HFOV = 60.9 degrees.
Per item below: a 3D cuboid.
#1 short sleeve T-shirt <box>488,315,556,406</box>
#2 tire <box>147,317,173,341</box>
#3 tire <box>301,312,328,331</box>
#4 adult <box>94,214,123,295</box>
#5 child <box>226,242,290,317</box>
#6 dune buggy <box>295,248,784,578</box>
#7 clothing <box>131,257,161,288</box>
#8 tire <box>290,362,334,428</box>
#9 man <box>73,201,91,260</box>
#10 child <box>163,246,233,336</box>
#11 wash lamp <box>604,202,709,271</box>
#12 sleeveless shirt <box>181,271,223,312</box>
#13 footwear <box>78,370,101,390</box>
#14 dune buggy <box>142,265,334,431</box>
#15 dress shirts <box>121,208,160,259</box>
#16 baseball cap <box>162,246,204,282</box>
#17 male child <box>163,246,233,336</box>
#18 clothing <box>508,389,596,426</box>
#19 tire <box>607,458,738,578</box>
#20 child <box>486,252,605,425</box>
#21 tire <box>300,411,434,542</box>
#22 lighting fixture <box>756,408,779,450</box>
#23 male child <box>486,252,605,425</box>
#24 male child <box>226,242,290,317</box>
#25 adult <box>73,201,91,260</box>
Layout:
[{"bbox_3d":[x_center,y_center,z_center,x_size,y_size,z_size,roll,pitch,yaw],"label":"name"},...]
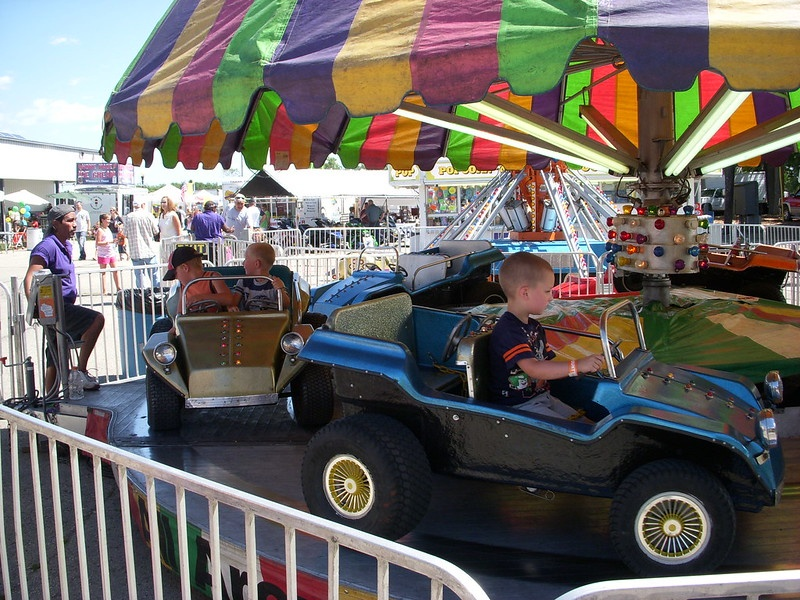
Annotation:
[{"bbox_3d":[0.575,0.258,3.405,0.318,0.501,0.574,-3,4,22],"label":"short sleeve T-shirt"},{"bbox_3d":[-1.815,0.223,5.153,0.142,0.107,0.252,-7,1,2],"label":"tire"},{"bbox_3d":[-0.650,0.153,5.190,0.179,0.175,0.177,7,-25,1],"label":"tire"},{"bbox_3d":[-5.842,-0.918,13.690,0.504,1.568,0.501,-3,3,-37],"label":"adult"},{"bbox_3d":[-1.059,-0.094,5.323,0.462,0.764,0.446,11,-16,-19],"label":"child"},{"bbox_3d":[0.702,0.475,3.381,2.006,1.316,1.378,1,6,21],"label":"dune buggy"},{"bbox_3d":[-3.915,-0.408,10.483,0.297,0.326,1.038,-13,11,-23],"label":"clothing"},{"bbox_3d":[-0.586,0.684,4.814,0.182,0.477,0.450,0,-10,-8],"label":"tire"},{"bbox_3d":[-10.115,-2.186,21.532,0.539,1.798,0.532,0,5,-4],"label":"man"},{"bbox_3d":[-1.515,-0.066,5.074,0.382,0.639,0.595,-28,37,-33],"label":"child"},{"bbox_3d":[1.715,-0.397,4.614,0.465,0.292,0.474,7,9,44],"label":"wash lamp"},{"bbox_3d":[-1.438,-0.045,4.947,0.208,0.309,0.157,4,-35,32],"label":"sleeveless shirt"},{"bbox_3d":[-2.561,0.659,5.561,0.208,0.106,0.081,9,11,13],"label":"footwear"},{"bbox_3d":[-1.235,0.301,5.292,1.191,0.951,1.892,-3,15,-10],"label":"dune buggy"},{"bbox_3d":[-4.762,-1.216,12.567,0.523,0.824,0.469,-9,-3,-23],"label":"dress shirts"},{"bbox_3d":[-1.683,-0.270,5.142,0.298,0.185,0.217,-26,9,5],"label":"baseball cap"},{"bbox_3d":[-1.510,-0.060,5.089,0.392,0.648,0.584,-24,20,-39],"label":"male child"},{"bbox_3d":[0.718,0.516,3.227,0.268,0.087,0.093,22,16,-18],"label":"clothing"},{"bbox_3d":[1.144,0.957,2.857,0.463,0.524,0.160,-4,-2,18],"label":"tire"},{"bbox_3d":[0.650,0.158,3.546,0.682,1.042,0.703,-1,1,10],"label":"child"},{"bbox_3d":[-0.201,0.844,3.222,0.525,0.578,0.190,-14,4,30],"label":"tire"},{"bbox_3d":[1.584,0.561,2.950,0.095,0.153,0.060,1,-8,-19],"label":"lighting fixture"},{"bbox_3d":[0.650,0.155,3.542,0.682,1.042,0.703,-1,1,10],"label":"male child"},{"bbox_3d":[-1.084,-0.077,5.223,0.460,0.744,0.321,16,7,41],"label":"male child"},{"bbox_3d":[-10.100,-2.183,21.547,0.576,1.836,0.516,0,6,-4],"label":"adult"}]
